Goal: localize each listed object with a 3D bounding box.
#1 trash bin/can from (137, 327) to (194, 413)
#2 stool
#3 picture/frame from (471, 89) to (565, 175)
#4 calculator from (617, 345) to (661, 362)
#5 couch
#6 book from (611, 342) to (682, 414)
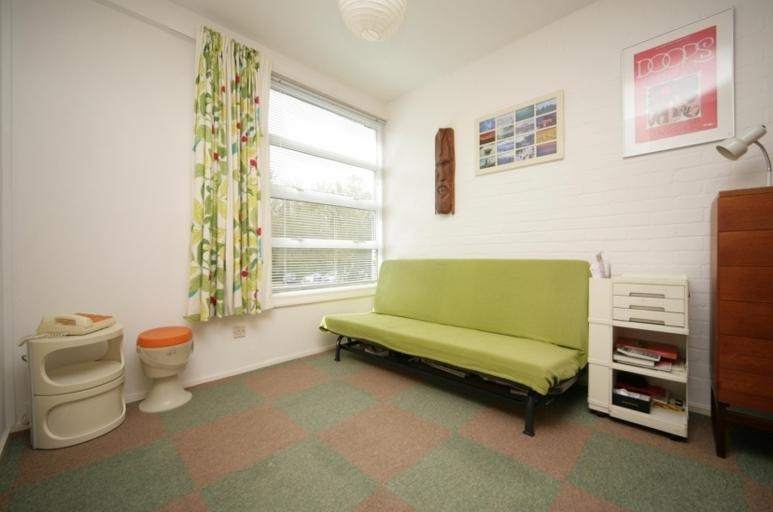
[{"bbox_3d":[-2.038,1.035,4.275,0.497,0.630,0.453,-2,6,-25],"label":"trash bin/can"},{"bbox_3d":[-1.988,1.022,4.236,0.615,0.817,0.673,3,3,-13],"label":"stool"},{"bbox_3d":[1.407,-1.281,4.784,1.028,0.718,0.039,-3,-3,43],"label":"picture/frame"},{"bbox_3d":[2.133,0.829,3.898,0.159,0.052,0.198,-1,6,-32],"label":"calculator"},{"bbox_3d":[0.776,0.664,4.575,2.243,1.341,0.965,8,13,37],"label":"couch"},{"bbox_3d":[2.258,1.030,3.967,0.579,0.500,0.418,5,11,22],"label":"book"}]
